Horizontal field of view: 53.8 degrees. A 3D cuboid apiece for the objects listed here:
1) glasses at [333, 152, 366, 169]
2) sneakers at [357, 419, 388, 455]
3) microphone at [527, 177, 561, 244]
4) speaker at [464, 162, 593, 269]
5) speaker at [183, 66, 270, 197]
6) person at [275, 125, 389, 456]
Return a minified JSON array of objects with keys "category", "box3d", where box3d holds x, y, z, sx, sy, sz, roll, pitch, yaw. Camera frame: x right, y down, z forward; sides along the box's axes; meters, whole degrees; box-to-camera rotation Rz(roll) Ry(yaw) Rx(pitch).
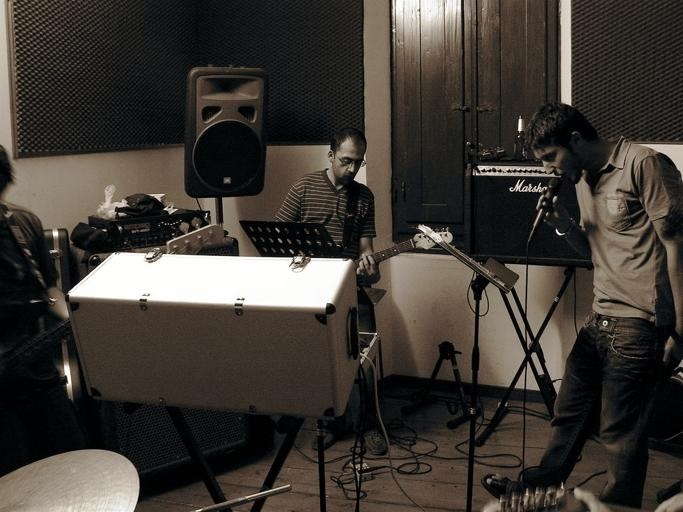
[{"category":"glasses","box3d":[0.027,-0.530,3.782,0.162,0.077,0.062,2,19,13]},{"category":"sneakers","box3d":[0.179,1.034,3.848,0.126,0.090,0.234,-3,20,-4]},{"category":"microphone","box3d":[0.989,-0.234,3.291,0.063,0.346,0.058,11,10,-23]},{"category":"speaker","box3d":[1.059,-0.204,3.831,0.676,0.662,0.427,0,-16,18]},{"category":"speaker","box3d":[-0.657,-0.641,3.909,0.487,0.794,0.452,3,-12,-22]},{"category":"person","box3d":[-0.051,0.191,4.109,0.601,1.921,0.525,2,22,0]}]
